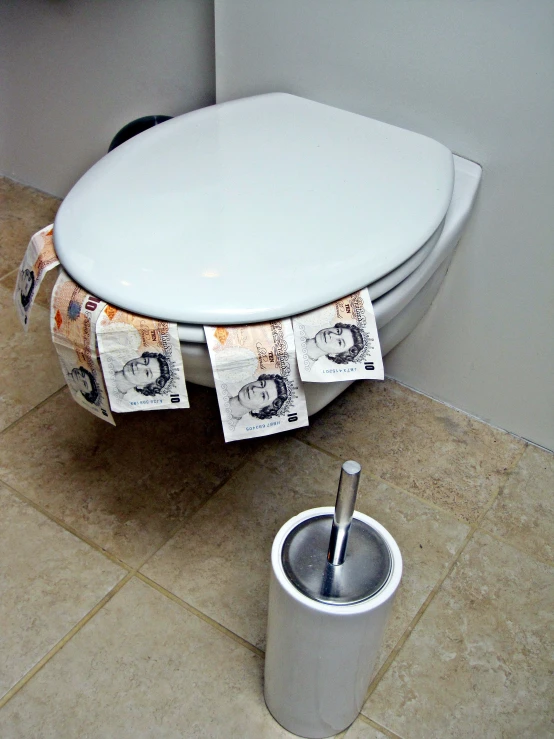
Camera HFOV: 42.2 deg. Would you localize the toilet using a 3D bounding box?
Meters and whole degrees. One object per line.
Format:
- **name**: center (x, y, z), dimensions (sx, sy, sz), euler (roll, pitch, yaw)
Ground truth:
- **toilet**: center (-0.015, -0.122, 0.857), dimensions (0.380, 0.233, 0.469), euler (34, 58, 29)
